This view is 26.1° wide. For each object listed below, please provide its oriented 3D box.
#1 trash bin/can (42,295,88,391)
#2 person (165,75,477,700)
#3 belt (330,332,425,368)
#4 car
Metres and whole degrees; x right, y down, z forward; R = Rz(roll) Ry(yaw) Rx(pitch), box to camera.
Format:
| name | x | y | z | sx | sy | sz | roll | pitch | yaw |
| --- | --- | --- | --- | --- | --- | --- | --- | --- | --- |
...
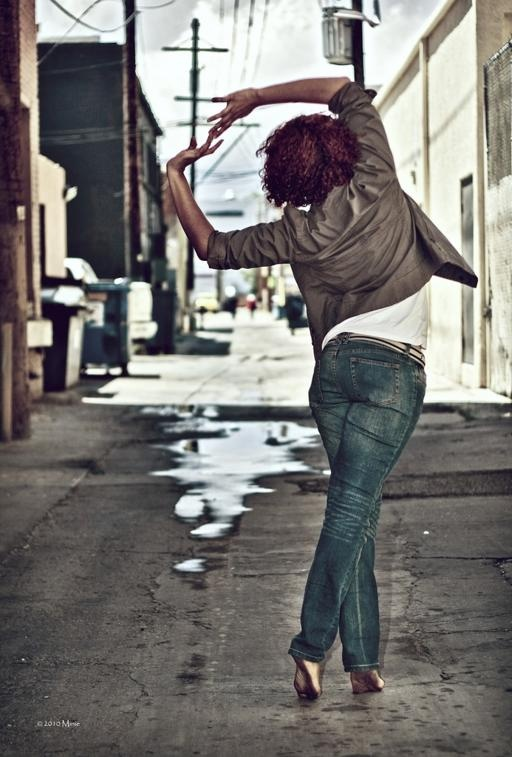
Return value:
| name | x | y | z | sx | sy | sz | roll | pitch | yaw |
| --- | --- | --- | --- | --- | --- | --- | --- | --- | --- |
| trash bin/can | -2.680 | -0.402 | 15.190 | 0.472 | 1.233 | 1.031 | 2 | 0 | 3 |
| person | 0.250 | 0.025 | 3.697 | 0.927 | 1.977 | 0.428 | 2 | 0 | 11 |
| belt | 0.396 | -0.090 | 3.686 | 0.340 | 0.105 | 0.213 | 2 | 0 | 3 |
| car | -2.473 | -1.437 | 21.761 | 2.102 | 2.179 | 1.251 | -3 | 7 | -4 |
